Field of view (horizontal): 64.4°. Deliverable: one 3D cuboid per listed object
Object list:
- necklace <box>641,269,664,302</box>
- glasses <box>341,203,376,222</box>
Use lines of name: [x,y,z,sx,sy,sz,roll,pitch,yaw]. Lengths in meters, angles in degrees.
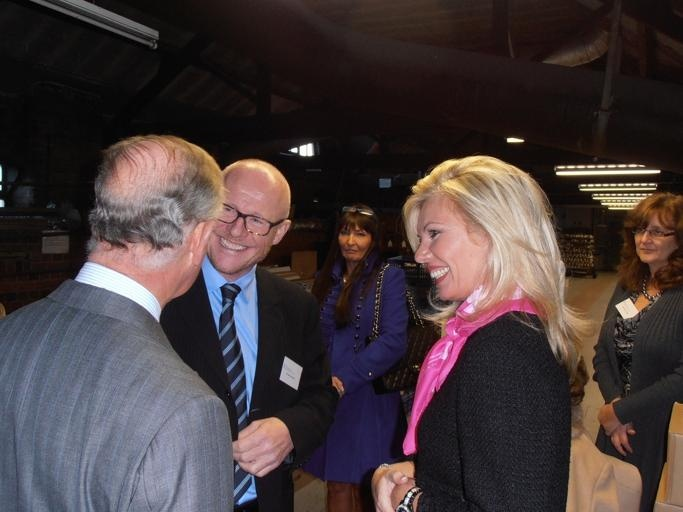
necklace: [1.815,0.190,3.159,0.093,0.127,0.043,-9,-18,-2]
glasses: [0.112,-0.288,3.482,0.143,0.145,0.043,0,21,5]
